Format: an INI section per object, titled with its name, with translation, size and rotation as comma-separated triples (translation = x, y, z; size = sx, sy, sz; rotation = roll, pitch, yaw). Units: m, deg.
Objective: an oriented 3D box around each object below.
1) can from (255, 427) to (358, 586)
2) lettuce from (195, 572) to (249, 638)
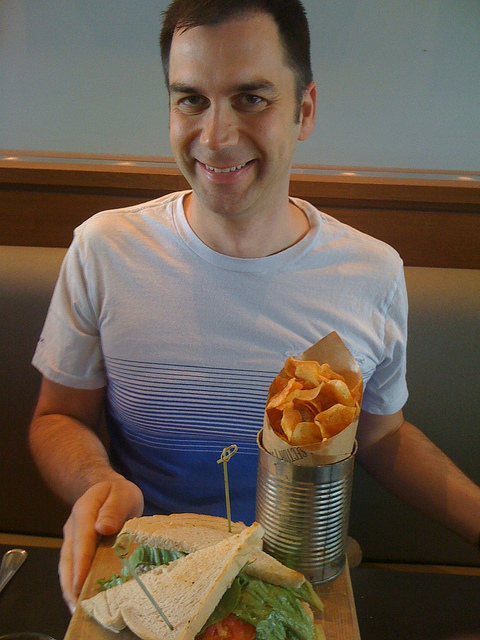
[can]
translation = 0.102, 0.283, 0.880
size = 0.146, 0.182, 0.131
rotation = 3, 9, 10
[lettuce]
translation = -0.010, 0.370, 0.767
size = 0.025, 0.071, 0.080
rotation = 42, 23, -6
